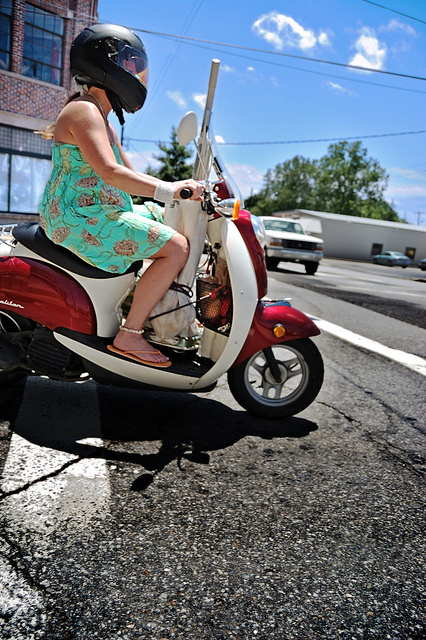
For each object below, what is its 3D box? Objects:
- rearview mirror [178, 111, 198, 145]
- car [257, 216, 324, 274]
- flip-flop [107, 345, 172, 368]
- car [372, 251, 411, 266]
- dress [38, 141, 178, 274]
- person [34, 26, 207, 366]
[{"bbox_3d":[-0.121,-0.917,2.297,0.087,0.135,0.297,6,7,-6],"label":"rearview mirror"},{"bbox_3d":[2.457,-2.946,18.716,2.230,1.614,3.727,0,8,-22],"label":"car"},{"bbox_3d":[-0.370,0.190,2.510,0.323,0.071,0.121,18,12,-5],"label":"flip-flop"},{"bbox_3d":[17.322,-5.913,46.761,1.803,1.172,3.772,0,9,-19],"label":"car"},{"bbox_3d":[-0.562,-0.472,2.674,0.679,0.779,0.498,13,9,-1],"label":"dress"},{"bbox_3d":[-0.460,-0.644,2.447,0.595,1.707,0.766,-1,11,-45],"label":"person"}]
